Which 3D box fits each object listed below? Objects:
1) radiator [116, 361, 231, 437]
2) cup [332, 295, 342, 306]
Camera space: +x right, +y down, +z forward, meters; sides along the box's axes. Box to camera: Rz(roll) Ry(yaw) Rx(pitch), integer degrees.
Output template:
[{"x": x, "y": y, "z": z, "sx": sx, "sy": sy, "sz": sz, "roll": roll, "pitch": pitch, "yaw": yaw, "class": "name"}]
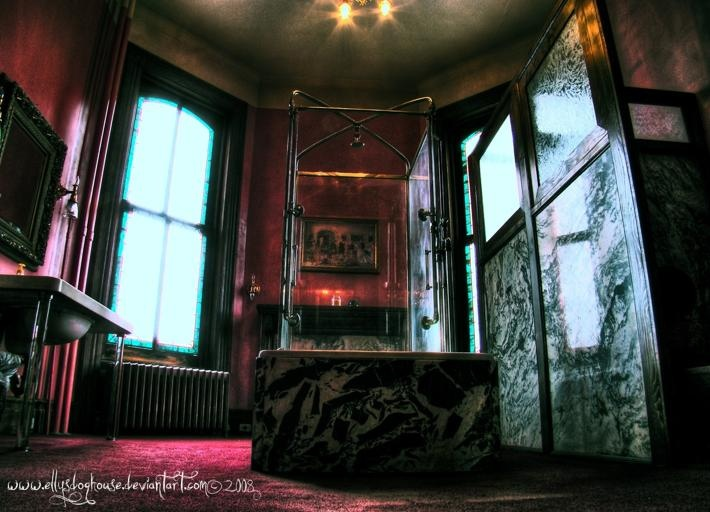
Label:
[{"x": -1.508, "y": 1.244, "z": 4.445, "sx": 1.004, "sy": 0.629, "sz": 0.149, "roll": 12, "pitch": -21, "yaw": -40, "class": "radiator"}, {"x": -0.090, "y": 0.220, "z": 2.498, "sx": 0.046, "sy": 0.059, "sz": 0.042, "roll": 1, "pitch": -13, "yaw": 5, "class": "cup"}]
